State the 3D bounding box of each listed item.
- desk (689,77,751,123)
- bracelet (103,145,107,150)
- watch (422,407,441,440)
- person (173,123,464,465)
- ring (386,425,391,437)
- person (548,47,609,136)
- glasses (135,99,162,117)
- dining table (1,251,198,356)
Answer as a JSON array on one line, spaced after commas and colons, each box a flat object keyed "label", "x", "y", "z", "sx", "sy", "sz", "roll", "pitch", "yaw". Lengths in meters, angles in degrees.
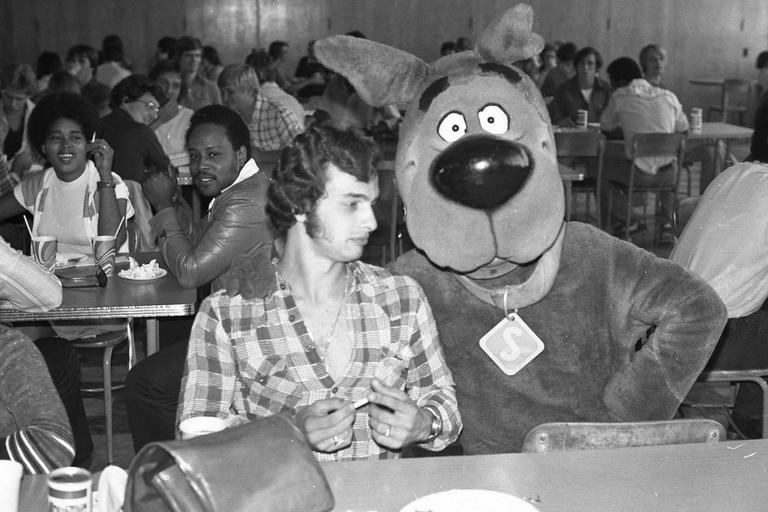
[{"label": "desk", "x": 5.358, "y": -2.289, "z": 12.681, "sx": 0.638, "sy": 0.869, "sz": 0.696, "roll": 7, "pitch": 13, "yaw": 29}, {"label": "bracelet", "x": -1.499, "y": -0.588, "z": 4.412, "sx": 0.024, "sy": 0.006, "sz": 0.023, "roll": 0, "pitch": 36, "yaw": -7}, {"label": "watch", "x": 0.174, "y": 0.589, "z": 2.825, "sx": 0.084, "sy": 0.099, "sz": 0.042, "roll": -10, "pitch": -14, "yaw": 43}, {"label": "person", "x": -0.212, "y": 0.117, "z": 2.852, "sx": 0.962, "sy": 1.112, "sz": 0.368, "roll": 1, "pitch": 10, "yaw": 4}, {"label": "ring", "x": 0.015, "y": 0.582, "z": 2.693, "sx": 0.008, "sy": 0.027, "sz": 0.026, "roll": 11, "pitch": 42, "yaw": -6}, {"label": "person", "x": 2.271, "y": -1.854, "z": 9.320, "sx": 0.808, "sy": 1.014, "sz": 0.668, "roll": 0, "pitch": 15, "yaw": -1}, {"label": "glasses", "x": -1.947, "y": -1.247, "z": 6.841, "sx": 0.125, "sy": 0.041, "sz": 0.123, "roll": 26, "pitch": 7, "yaw": 40}, {"label": "dining table", "x": -1.225, "y": 0.203, "z": 3.890, "sx": 0.603, "sy": 0.324, "sz": 0.463, "roll": 0, "pitch": 14, "yaw": 0}]
